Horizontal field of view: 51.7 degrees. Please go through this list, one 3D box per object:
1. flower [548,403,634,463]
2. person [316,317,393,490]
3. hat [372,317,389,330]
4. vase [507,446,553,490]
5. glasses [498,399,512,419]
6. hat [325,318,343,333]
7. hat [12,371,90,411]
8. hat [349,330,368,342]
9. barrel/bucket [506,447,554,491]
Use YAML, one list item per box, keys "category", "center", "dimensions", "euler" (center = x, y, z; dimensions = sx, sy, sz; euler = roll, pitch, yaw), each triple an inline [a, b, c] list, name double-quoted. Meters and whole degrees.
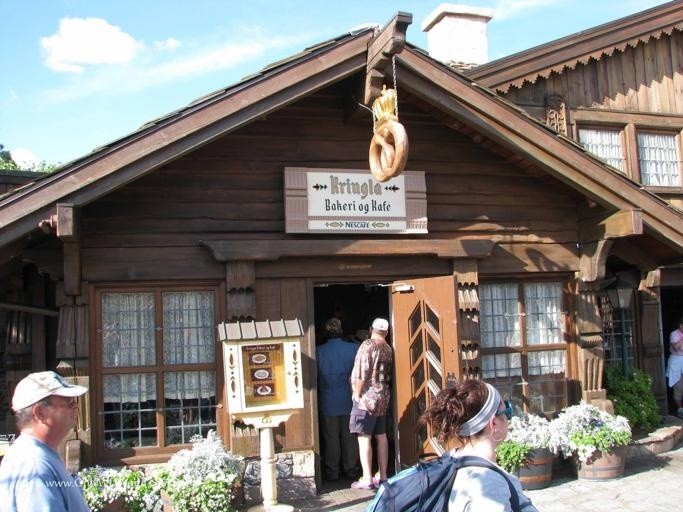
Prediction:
- category: "flower"
  center: [3.538, 2.298, 9.594]
  dimensions: [1.004, 0.660, 0.848]
  euler: [-9, -30, -8]
- category: "person"
  center: [0.160, 1.936, 9.421]
  dimensions: [1.217, 2.261, 0.650]
  euler: [-15, -15, 41]
- category: "hat"
  center: [0.522, 0.915, 9.374]
  dimensions: [0.204, 0.167, 0.203]
  euler: [-4, -11, -3]
- category: "vase"
  center: [2.495, 2.688, 9.135]
  dimensions: [0.614, 0.450, 0.562]
  euler: [-5, -10, 31]
- category: "glasses"
  center: [1.218, 1.136, 5.225]
  dimensions: [0.121, 0.082, 0.161]
  euler: [-1, 31, 15]
- category: "hat"
  center: [-0.097, 0.969, 9.839]
  dimensions: [0.177, 0.209, 0.215]
  euler: [1, 33, 0]
- category: "hat"
  center: [-2.189, 0.984, 5.294]
  dimensions: [0.473, 0.228, 0.305]
  euler: [-5, -2, -21]
- category: "hat"
  center: [0.304, 1.336, 11.721]
  dimensions: [0.251, 0.228, 0.250]
  euler: [0, -2, -16]
- category: "barrel/bucket"
  center: [2.479, 2.751, 9.243]
  dimensions: [0.558, 0.463, 0.617]
  euler: [1, -9, 1]
